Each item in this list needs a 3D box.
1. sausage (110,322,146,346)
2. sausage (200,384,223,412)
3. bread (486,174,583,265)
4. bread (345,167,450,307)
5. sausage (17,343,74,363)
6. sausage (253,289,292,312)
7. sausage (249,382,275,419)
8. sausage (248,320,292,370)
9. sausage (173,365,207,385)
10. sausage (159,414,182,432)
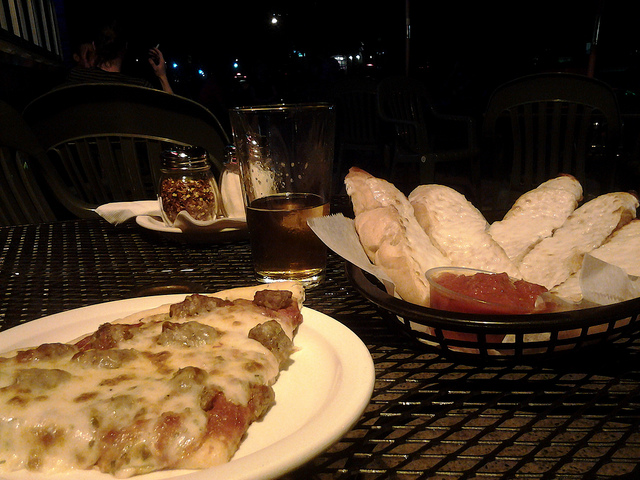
[{"bbox_3d":[-0.299,0.142,0.655,0.027,0.007,0.028,15,16,4],"label":"sausage"},{"bbox_3d":[-0.137,0.197,0.541,0.021,0.009,0.028,9,50,23],"label":"sausage"},{"bbox_3d":[0.538,-0.054,1.069,0.123,0.323,0.047,38,58,7],"label":"bread"},{"bbox_3d":[0.133,0.006,0.948,0.174,0.071,0.311,-16,56,-37],"label":"bread"},{"bbox_3d":[-0.395,0.159,0.613,0.036,0.008,0.038,6,9,40],"label":"sausage"},{"bbox_3d":[-0.086,0.105,0.765,0.039,0.017,0.046,5,10,3],"label":"sausage"},{"bbox_3d":[-0.077,0.210,0.563,0.041,0.040,0.012,29,-27,-31],"label":"sausage"},{"bbox_3d":[-0.074,0.158,0.647,0.064,0.070,0.023,-37,7,-29],"label":"sausage"},{"bbox_3d":[-0.167,0.174,0.555,0.026,0.008,0.025,7,18,-5],"label":"sausage"},{"bbox_3d":[-0.178,0.219,0.514,0.016,0.004,0.015,25,47,32],"label":"sausage"}]
